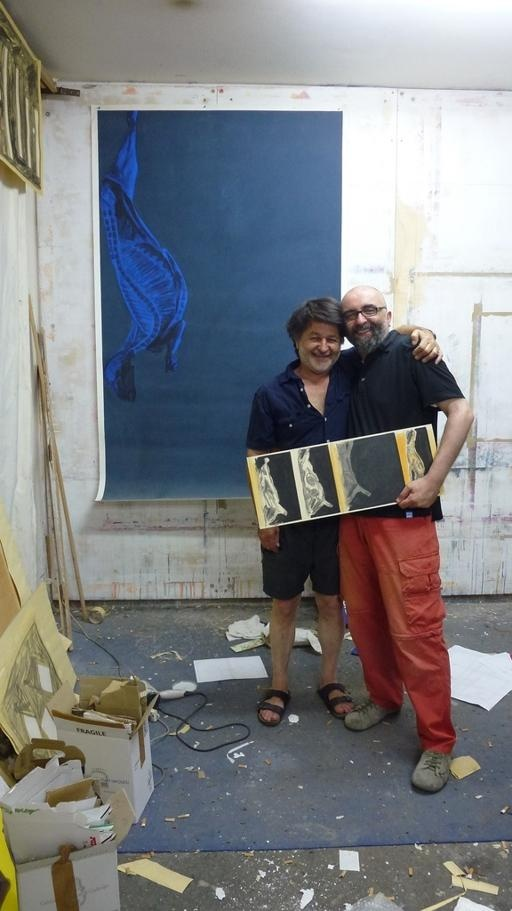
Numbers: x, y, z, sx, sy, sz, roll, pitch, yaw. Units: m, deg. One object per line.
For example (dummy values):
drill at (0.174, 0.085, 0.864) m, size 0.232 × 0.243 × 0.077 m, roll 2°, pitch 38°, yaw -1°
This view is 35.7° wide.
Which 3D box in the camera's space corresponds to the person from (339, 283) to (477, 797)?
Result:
person at (0.501, 0.237, 2.739) m, size 0.363 × 1.600 × 0.710 m, roll -5°, pitch 14°, yaw -18°

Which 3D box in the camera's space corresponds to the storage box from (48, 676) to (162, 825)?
storage box at (-0.440, 0.910, 2.494) m, size 0.333 × 0.404 × 0.297 m, roll -1°, pitch 11°, yaw -1°

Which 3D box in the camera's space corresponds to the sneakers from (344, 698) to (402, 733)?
sneakers at (0.412, 0.949, 2.962) m, size 0.243 × 0.097 × 0.082 m, roll -1°, pitch 15°, yaw -30°

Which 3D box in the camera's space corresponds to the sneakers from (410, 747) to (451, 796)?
sneakers at (0.569, 1.041, 2.605) m, size 0.065 × 0.069 × 0.183 m, roll 1°, pitch 0°, yaw 16°

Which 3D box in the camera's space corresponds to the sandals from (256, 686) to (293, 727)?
sandals at (0.068, 0.958, 3.013) m, size 0.090 × 0.074 × 0.259 m, roll 1°, pitch -4°, yaw 9°
